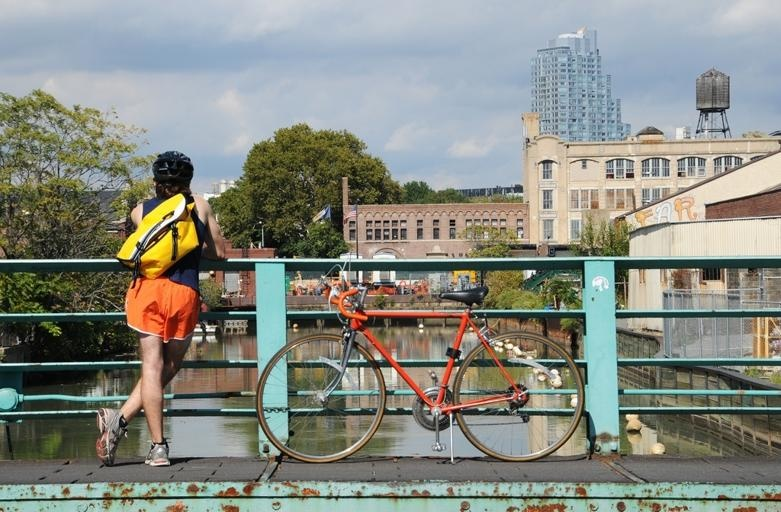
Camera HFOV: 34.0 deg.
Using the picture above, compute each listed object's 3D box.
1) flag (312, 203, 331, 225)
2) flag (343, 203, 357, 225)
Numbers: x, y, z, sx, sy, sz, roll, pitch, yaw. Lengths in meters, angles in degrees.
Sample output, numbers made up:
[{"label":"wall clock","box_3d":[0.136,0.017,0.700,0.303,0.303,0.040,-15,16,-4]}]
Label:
[{"label":"flag","box_3d":[-5.868,-3.415,108.349,2.240,0.348,2.432,-28,17,0]},{"label":"flag","box_3d":[-3.526,-3.448,109.972,1.803,2.045,0.128,-1,-7,18]}]
